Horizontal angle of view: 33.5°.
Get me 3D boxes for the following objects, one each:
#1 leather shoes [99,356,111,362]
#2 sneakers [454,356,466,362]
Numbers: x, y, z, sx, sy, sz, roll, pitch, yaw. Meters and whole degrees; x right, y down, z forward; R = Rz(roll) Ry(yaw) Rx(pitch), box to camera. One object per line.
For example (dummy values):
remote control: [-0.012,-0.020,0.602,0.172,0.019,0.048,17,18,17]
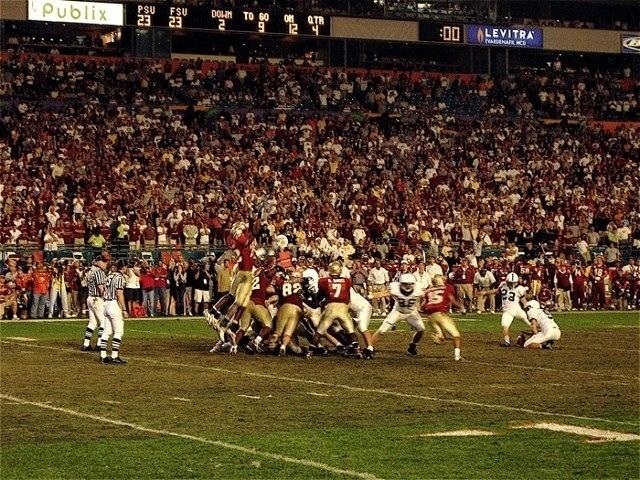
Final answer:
leather shoes: [-4.460,2.441,22.260,0.195,0.114,0.146,0,-1,-17]
sneakers: [3.125,2.548,23.337,0.359,0.098,0.198,0,-1,-36]
